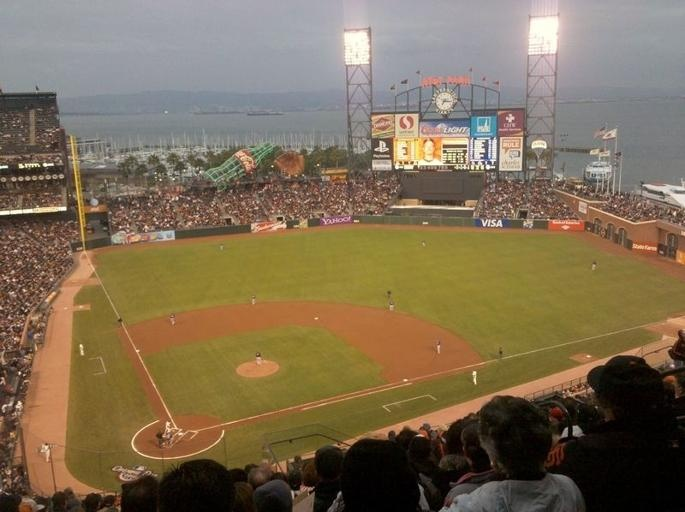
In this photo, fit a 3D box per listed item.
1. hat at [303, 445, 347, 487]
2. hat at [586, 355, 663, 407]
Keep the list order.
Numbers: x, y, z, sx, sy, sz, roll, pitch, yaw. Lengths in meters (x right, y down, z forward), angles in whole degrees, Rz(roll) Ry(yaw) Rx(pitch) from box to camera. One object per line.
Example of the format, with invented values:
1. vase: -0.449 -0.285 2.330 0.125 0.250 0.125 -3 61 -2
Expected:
1. hat: -0.162 2.554 7.173 0.410 0.562 0.542 3 7 -5
2. hat: 3.074 1.251 6.282 0.743 0.292 0.577 7 34 16
